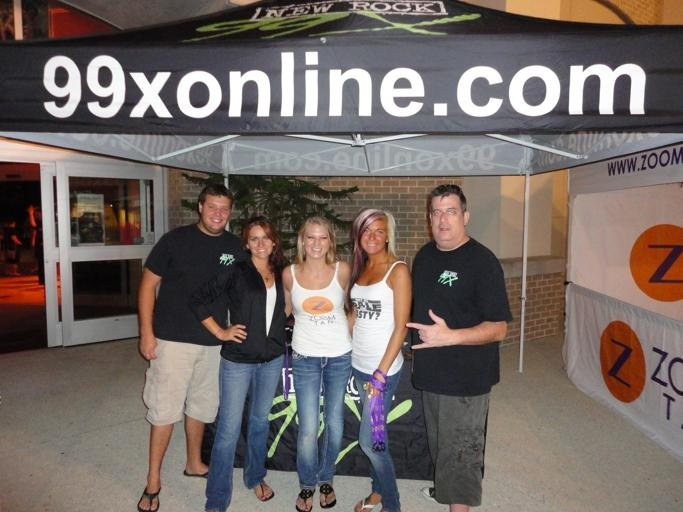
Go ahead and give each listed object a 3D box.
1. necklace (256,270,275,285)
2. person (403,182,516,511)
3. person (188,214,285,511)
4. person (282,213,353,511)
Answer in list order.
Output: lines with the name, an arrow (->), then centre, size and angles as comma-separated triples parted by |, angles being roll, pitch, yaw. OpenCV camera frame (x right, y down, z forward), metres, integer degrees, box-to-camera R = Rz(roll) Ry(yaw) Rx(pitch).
necklace -> -0.636, 0.185, 4.656 | 0.100, 0.139, 0.037 | -23, -14, -44
person -> 0.911, 0.775, 4.285 | 0.770, 2.651, 0.534 | 0, 7, 7
person -> -0.817, 0.910, 4.642 | 0.759, 2.464, 0.352 | -3, 7, -13
person -> -0.194, 0.918, 4.661 | 0.589, 2.498, 0.358 | -2, 7, -4
